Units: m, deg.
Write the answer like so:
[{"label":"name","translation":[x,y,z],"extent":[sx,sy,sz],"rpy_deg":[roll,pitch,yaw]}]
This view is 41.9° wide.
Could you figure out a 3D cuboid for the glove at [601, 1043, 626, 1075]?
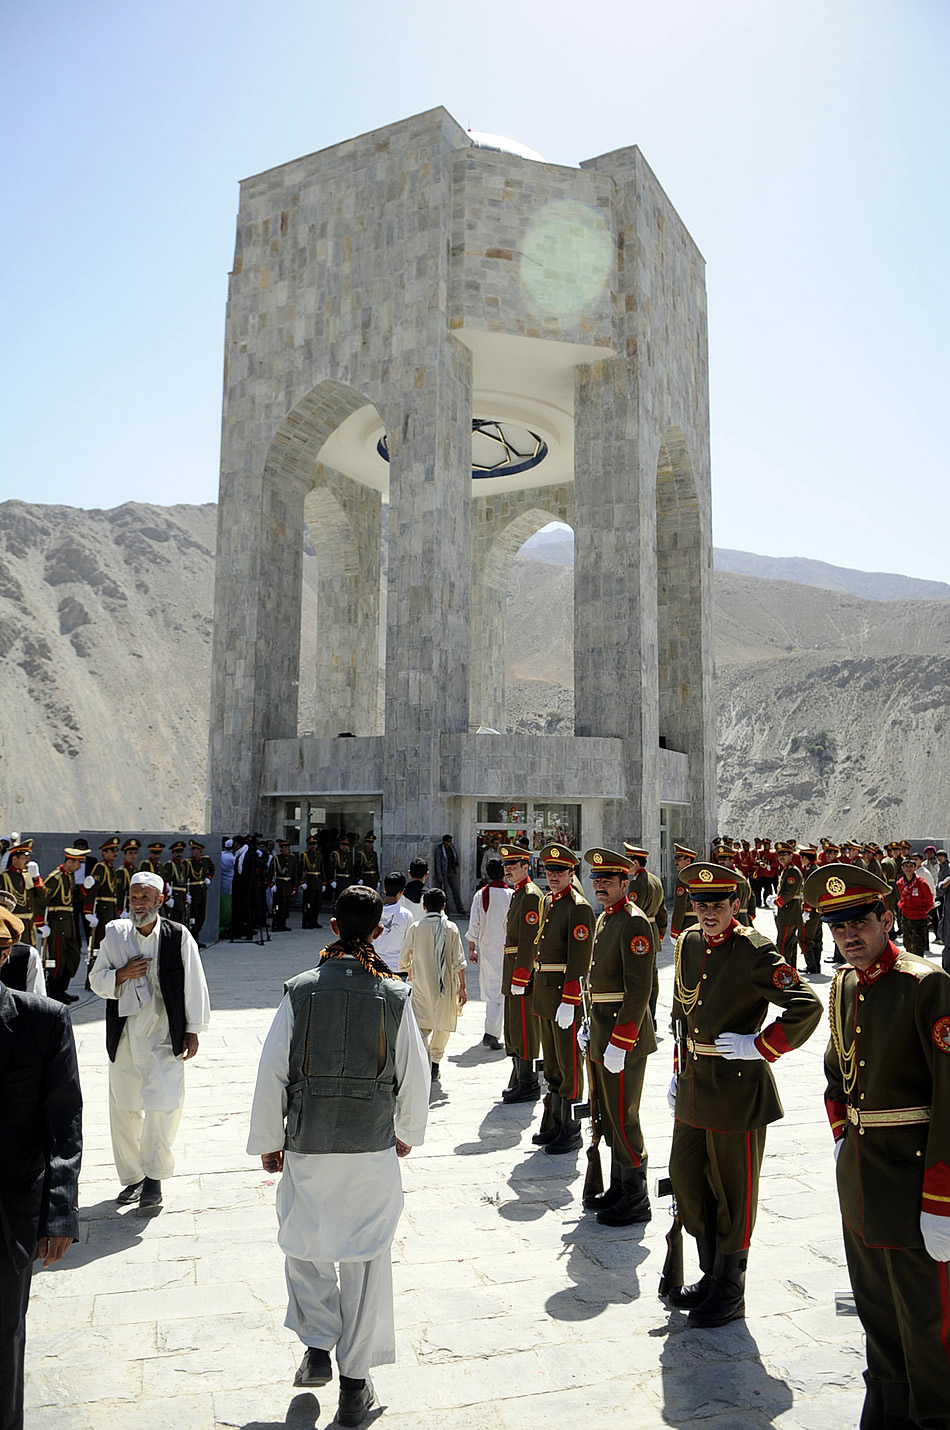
[{"label":"glove","translation":[0.622,1.546,5.625],"extent":[0.100,0.137,0.112],"rpy_deg":[7,-9,4]}]

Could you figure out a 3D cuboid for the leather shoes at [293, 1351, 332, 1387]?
[{"label":"leather shoes","translation":[-0.520,2.107,4.001],"extent":[0.066,0.081,0.173],"rpy_deg":[4,-16,-10]}]

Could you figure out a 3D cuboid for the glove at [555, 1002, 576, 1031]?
[{"label":"glove","translation":[0.474,1.636,6.720],"extent":[0.037,0.145,0.105],"rpy_deg":[13,5,40]}]

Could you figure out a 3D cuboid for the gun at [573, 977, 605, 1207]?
[{"label":"gun","translation":[0.561,1.865,6.191],"extent":[0.243,1.211,0.040],"rpy_deg":[2,-2,-17]}]

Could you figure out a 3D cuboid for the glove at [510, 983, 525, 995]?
[{"label":"glove","translation":[0.262,1.735,7.893],"extent":[0.079,0.075,0.078],"rpy_deg":[3,-13,-10]}]

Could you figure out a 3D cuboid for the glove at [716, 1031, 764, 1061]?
[{"label":"glove","translation":[0.982,1.252,4.662],"extent":[0.168,0.112,0.136],"rpy_deg":[1,-5,11]}]

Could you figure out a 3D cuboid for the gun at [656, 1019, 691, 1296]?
[{"label":"gun","translation":[0.744,1.832,4.784],"extent":[0.156,0.725,0.047],"rpy_deg":[2,-10,-7]}]

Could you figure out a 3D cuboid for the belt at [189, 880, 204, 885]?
[{"label":"belt","translation":[-3.627,2.147,16.065],"extent":[0.098,0.034,0.143],"rpy_deg":[1,-2,20]}]
